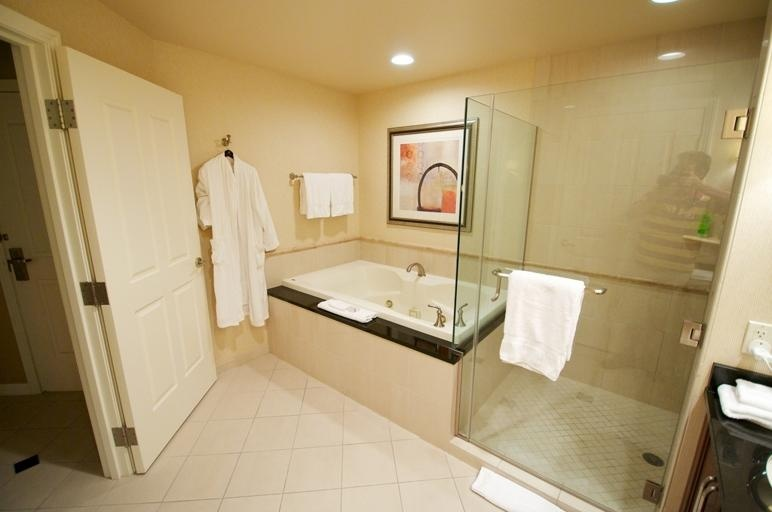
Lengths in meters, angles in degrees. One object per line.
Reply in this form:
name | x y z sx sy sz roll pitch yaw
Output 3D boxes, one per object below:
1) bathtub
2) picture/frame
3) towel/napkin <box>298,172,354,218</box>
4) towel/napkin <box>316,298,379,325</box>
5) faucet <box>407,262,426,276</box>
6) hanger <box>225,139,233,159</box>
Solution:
bathtub | 0.141 0.298 4.381 2.014 0.663 1.007 9 17 36
picture/frame | 0.420 -0.738 4.344 1.034 1.087 0.083 13 21 42
towel/napkin | -0.580 -0.583 4.665 0.090 0.263 0.419 12 19 40
towel/napkin | -0.298 0.434 4.002 0.363 0.066 0.207 13 20 29
faucet | 0.275 0.124 4.705 0.090 0.129 0.205 6 21 35
hanger | -1.289 -0.883 4.086 0.071 0.157 0.088 -6 15 -19
